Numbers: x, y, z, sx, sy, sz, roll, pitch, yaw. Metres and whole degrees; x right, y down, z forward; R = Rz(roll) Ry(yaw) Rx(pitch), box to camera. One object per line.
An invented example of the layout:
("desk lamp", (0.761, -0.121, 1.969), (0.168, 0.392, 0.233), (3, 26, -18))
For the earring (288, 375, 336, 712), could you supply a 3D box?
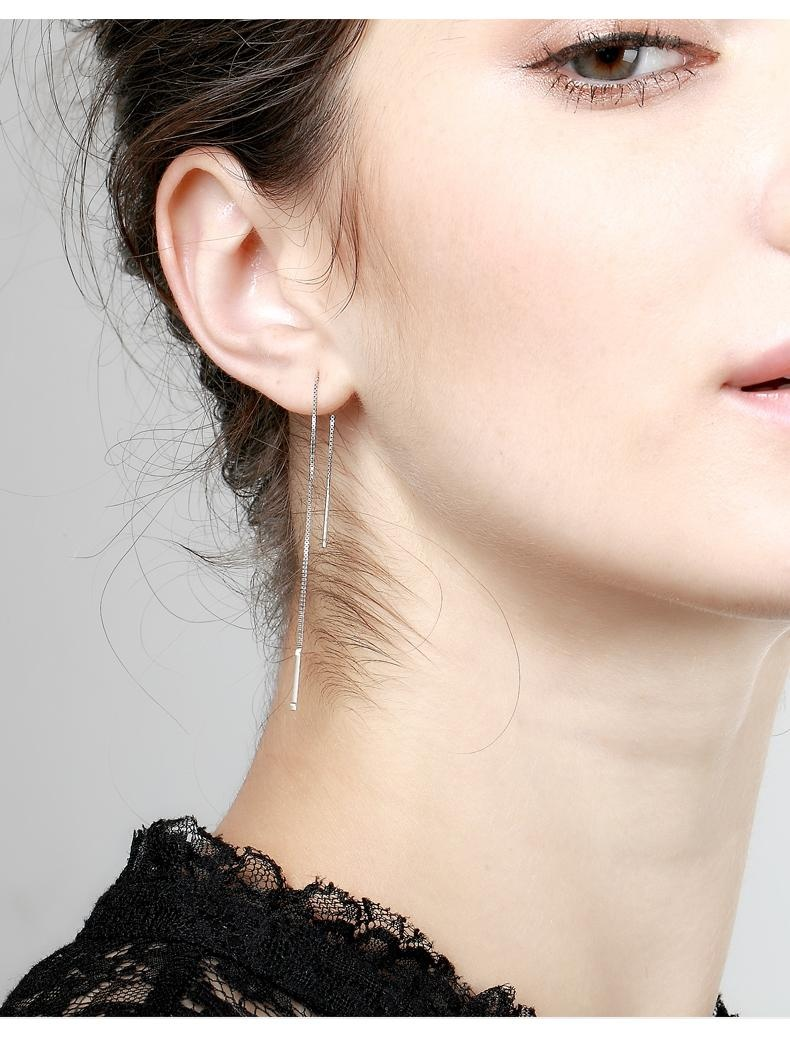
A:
("earring", (-0.081, 0.019, 1.214), (0.051, 0.016, 0.310), (1, 84, 4))
